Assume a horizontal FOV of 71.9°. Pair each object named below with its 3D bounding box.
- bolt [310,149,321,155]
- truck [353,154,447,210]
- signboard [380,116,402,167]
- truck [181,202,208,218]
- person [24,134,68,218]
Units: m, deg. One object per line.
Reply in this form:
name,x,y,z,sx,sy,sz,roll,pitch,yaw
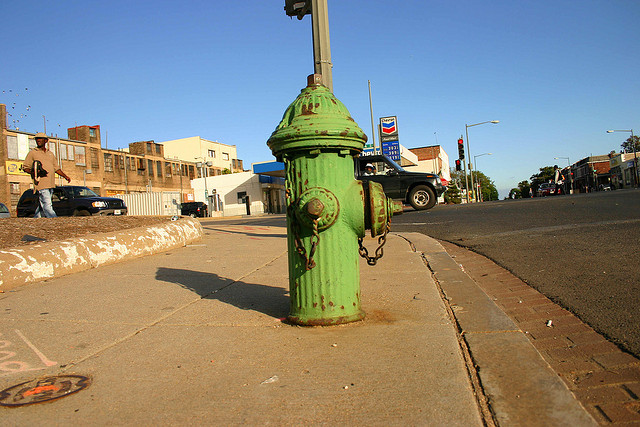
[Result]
bolt,-0.037,-0.529,3.792,0.093,0.046,0.036,-5,3,-7
truck,2.795,-1.069,14.707,3.232,1.596,1.782,-2,3,1
signboard,5.675,-5.750,35.324,1.544,4.095,0.439,-5,-15,8
truck,-11.136,-0.335,39.013,2.189,1.196,1.289,4,5,4
person,-6.060,-0.792,9.699,0.733,1.835,1.302,-7,4,-32
